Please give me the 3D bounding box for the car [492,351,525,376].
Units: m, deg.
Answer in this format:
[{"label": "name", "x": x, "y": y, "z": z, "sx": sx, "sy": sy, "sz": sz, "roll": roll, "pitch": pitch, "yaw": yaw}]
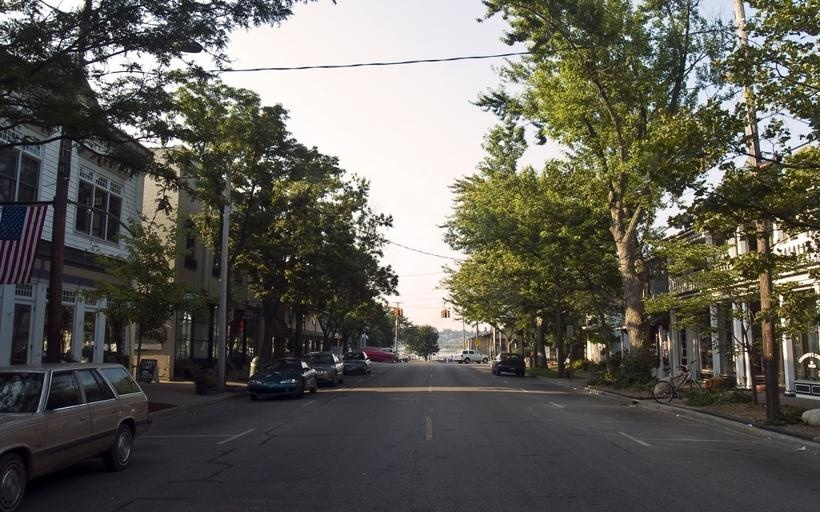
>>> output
[{"label": "car", "x": 6.872, "y": 7.693, "z": 50.747, "sx": 1.716, "sy": 1.820, "sz": 2.674, "roll": 7, "pitch": -15, "yaw": -33}]
